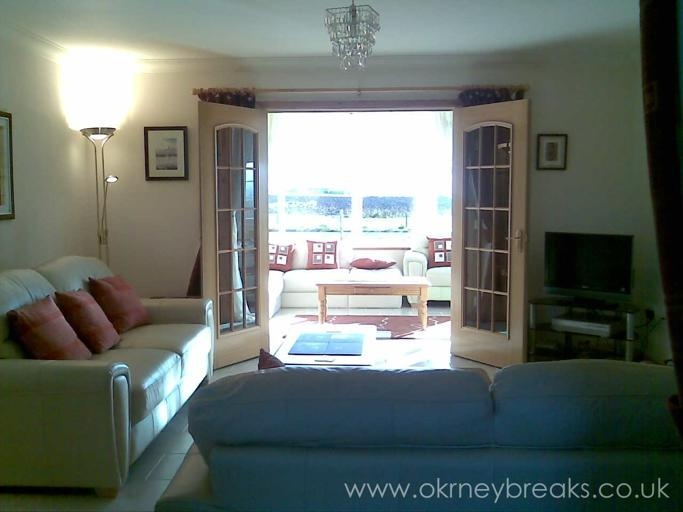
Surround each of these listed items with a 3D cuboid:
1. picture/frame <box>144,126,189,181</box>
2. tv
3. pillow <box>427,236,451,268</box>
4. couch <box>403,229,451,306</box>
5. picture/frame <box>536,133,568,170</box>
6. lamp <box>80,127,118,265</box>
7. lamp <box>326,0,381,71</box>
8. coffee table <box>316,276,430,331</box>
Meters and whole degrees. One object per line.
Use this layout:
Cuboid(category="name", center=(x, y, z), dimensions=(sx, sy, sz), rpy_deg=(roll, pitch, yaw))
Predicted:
Cuboid(category="picture/frame", center=(-1.567, -0.929, 4.859), dimensions=(0.450, 0.559, 0.021), rpy_deg=(0, 2, -3))
Cuboid(category="tv", center=(1.946, 0.108, 4.245), dimensions=(0.585, 0.444, 0.079), rpy_deg=(3, 9, 34))
Cuboid(category="pillow", center=(1.279, -0.042, 7.136), dimensions=(0.361, 0.369, 0.097), rpy_deg=(1, -8, 10))
Cuboid(category="couch", center=(1.166, 0.154, 7.069), dimensions=(0.810, 0.809, 0.778), rpy_deg=(0, 4, 2))
Cuboid(category="picture/frame", center=(1.791, -0.892, 4.615), dimensions=(0.294, 0.363, 0.024), rpy_deg=(0, 4, 4))
Cuboid(category="lamp", center=(-2.058, -0.504, 4.702), dimensions=(0.264, 1.142, 0.611), rpy_deg=(-4, 8, -23))
Cuboid(category="lamp", center=(0.060, -1.381, 3.363), dimensions=(0.301, 0.443, 0.391), rpy_deg=(-1, 8, -2))
Cuboid(category="coffee table", center=(0.357, 0.475, 5.947), dimensions=(1.160, 0.515, 0.710), rpy_deg=(0, 8, 4))
